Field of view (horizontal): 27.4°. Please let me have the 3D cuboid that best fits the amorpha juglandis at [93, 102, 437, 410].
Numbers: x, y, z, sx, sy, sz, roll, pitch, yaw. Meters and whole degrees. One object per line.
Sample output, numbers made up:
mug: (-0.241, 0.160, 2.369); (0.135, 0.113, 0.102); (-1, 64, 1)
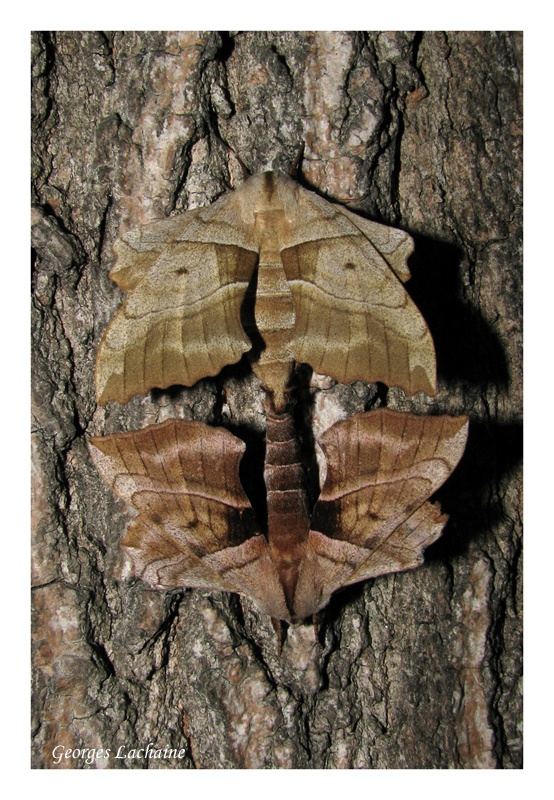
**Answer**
amorpha juglandis: (-0.051, -0.413, 4.404); (1.258, 0.891, 0.362); (-3, -7, 0)
